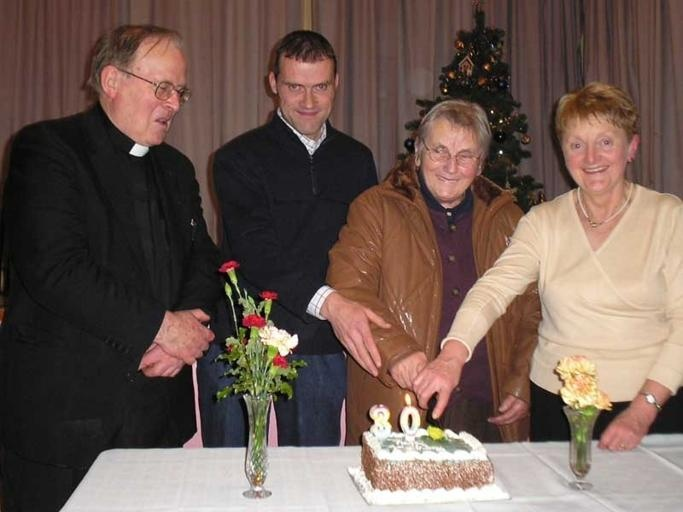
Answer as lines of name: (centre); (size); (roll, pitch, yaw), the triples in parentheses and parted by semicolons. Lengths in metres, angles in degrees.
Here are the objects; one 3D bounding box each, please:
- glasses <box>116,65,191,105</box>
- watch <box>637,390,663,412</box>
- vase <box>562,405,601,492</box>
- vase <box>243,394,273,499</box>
glasses: (-0.891, -0.858, 3.427); (0.212, 0.067, 0.206); (32, 14, 20)
watch: (1.421, 0.665, 3.083); (0.087, 0.060, 0.105); (18, -25, 28)
vase: (0.992, 0.790, 2.780); (0.150, 0.347, 0.156); (0, 2, 15)
vase: (-0.335, 0.749, 2.696); (0.114, 0.354, 0.269); (-1, 14, -8)
